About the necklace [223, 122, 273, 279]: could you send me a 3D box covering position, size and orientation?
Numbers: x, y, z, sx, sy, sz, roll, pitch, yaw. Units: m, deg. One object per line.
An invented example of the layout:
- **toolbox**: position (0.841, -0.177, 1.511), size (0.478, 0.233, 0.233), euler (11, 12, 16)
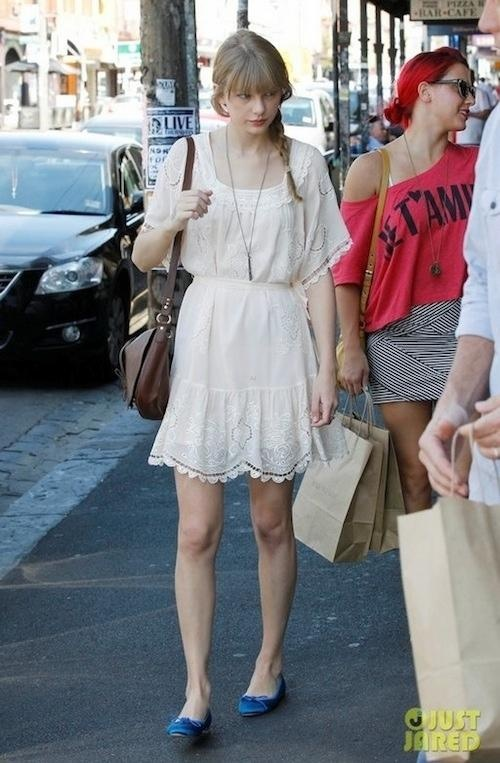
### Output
- **necklace**: position (-0.046, -0.636, 2.322), size (0.101, 0.535, 0.179), euler (-8, 11, -42)

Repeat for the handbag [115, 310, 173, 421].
- **handbag**: position (-0.393, -0.052, 2.384), size (0.196, 0.410, 0.256), euler (-2, 9, -11)

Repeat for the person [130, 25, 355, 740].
- **person**: position (-0.002, -0.003, 2.413), size (0.786, 2.560, 0.436), euler (-4, 9, -21)

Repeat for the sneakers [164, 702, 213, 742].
- **sneakers**: position (-0.218, 1.231, 2.325), size (0.084, 0.069, 0.154), euler (-5, -16, 32)
